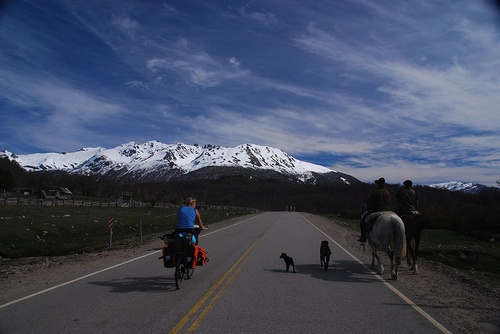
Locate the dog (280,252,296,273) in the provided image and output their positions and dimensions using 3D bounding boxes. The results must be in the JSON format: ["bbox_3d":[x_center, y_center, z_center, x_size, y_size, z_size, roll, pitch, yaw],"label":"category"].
[{"bbox_3d":[1.630,3.995,13.873,0.623,0.726,1.090,-1,-7,6],"label":"dog"}]

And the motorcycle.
[{"bbox_3d":[-2.162,3.067,12.387,0.994,1.496,2.431,-13,-3,-2],"label":"motorcycle"}]
